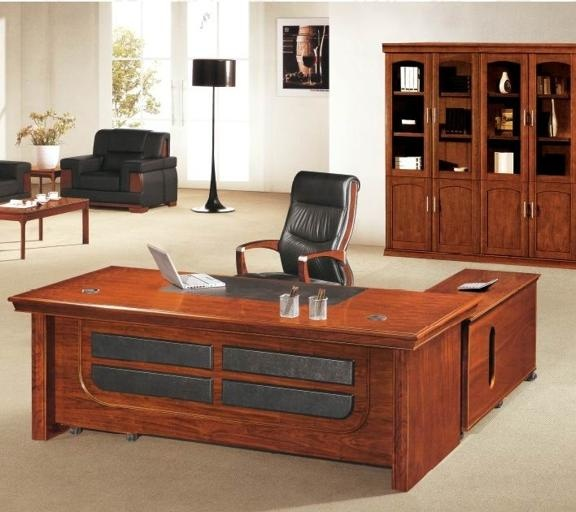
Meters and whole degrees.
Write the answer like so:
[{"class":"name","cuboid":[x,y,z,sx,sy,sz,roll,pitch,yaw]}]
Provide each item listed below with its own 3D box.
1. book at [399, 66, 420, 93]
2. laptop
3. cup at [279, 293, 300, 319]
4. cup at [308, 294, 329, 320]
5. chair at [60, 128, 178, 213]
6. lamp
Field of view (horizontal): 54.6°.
[{"class":"book","cuboid":[1.401,-1.992,6.388,0.287,0.395,0.296,2,11,14]},{"class":"laptop","cuboid":[-0.503,0.088,2.857,0.285,0.172,0.291,-3,12,-25]},{"class":"cup","cuboid":[0.004,0.203,2.288,0.087,0.116,0.087,0,10,0]},{"class":"cup","cuboid":[0.119,0.207,2.200,0.069,0.086,0.074,0,11,0]},{"class":"chair","cuboid":[-2.980,-1.467,9.832,2.101,1.711,1.457,4,6,23]},{"class":"lamp","cuboid":[-1.347,-2.221,10.110,0.774,2.687,1.955,-1,12,-7]}]
